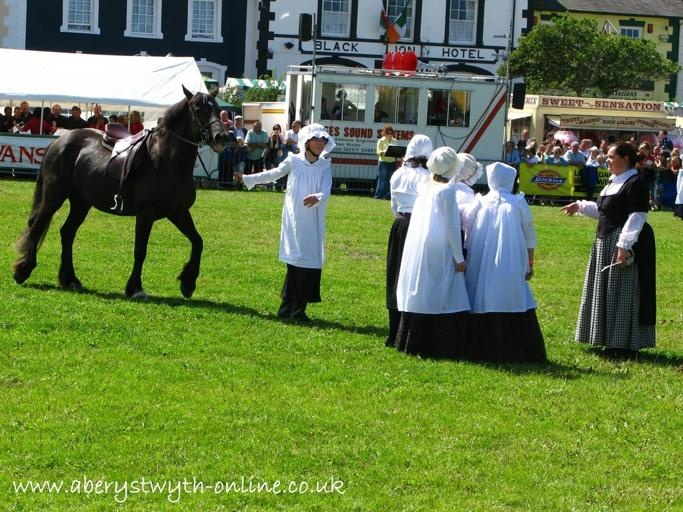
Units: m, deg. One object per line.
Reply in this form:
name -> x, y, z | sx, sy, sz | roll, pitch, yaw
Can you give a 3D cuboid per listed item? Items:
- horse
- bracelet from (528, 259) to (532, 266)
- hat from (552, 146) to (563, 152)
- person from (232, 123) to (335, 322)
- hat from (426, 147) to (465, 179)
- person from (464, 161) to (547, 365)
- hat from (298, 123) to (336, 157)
horse -> -3.544, -0.960, 21.012 | 3.940, 3.280, 1.013 | 3, -1, 22
bracelet -> 2.830, 0.085, 19.269 | 0.070, 0.074, 0.073 | 0, 2, 3
hat -> 5.653, -2.787, 33.692 | 0.137, 0.191, 0.188 | 4, 3, -4
person -> -0.695, -0.544, 20.329 | 0.983, 3.024, 0.613 | 3, 12, -3
hat -> 1.532, -1.374, 19.127 | 0.412, 0.476, 0.240 | -19, -20, 8
person -> 2.447, 0.090, 19.297 | 1.304, 2.848, 0.782 | 5, 12, 5
hat -> -0.379, -1.846, 20.744 | 0.521, 0.639, 1.148 | 4, 13, 2
